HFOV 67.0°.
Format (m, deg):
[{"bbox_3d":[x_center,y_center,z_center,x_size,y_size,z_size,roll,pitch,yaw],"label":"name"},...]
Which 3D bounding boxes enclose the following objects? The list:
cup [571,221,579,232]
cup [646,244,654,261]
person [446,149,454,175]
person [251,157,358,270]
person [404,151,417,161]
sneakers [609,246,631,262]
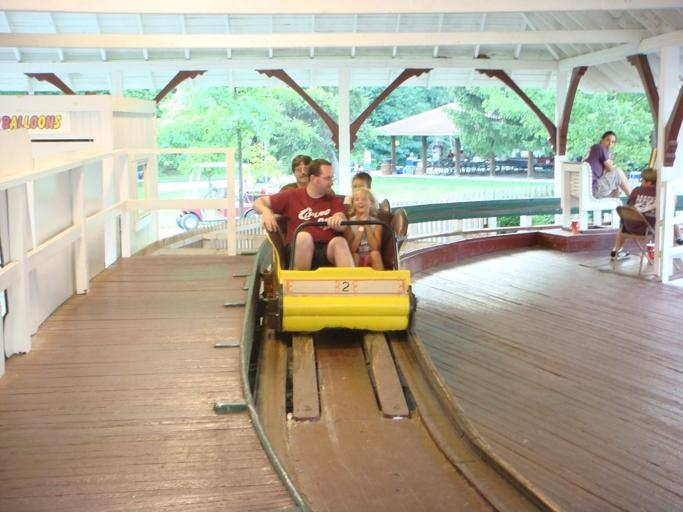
[{"bbox_3d":[4.046,-0.513,8.902,0.130,0.218,0.423,5,14,24],"label":"cup"},{"bbox_3d":[4.579,-0.054,7.635,0.171,0.194,0.186,1,19,0],"label":"cup"},{"bbox_3d":[7.795,-6.574,36.725,0.460,1.499,2.277,2,13,10],"label":"person"},{"bbox_3d":[-0.256,-0.235,4.726,0.863,1.221,0.960,1,-17,-13],"label":"person"},{"bbox_3d":[5.249,-7.413,38.442,0.815,0.826,0.776,1,-3,-9],"label":"person"},{"bbox_3d":[4.272,-0.037,7.946,0.553,0.237,0.184,-9,15,-37],"label":"sneakers"}]
